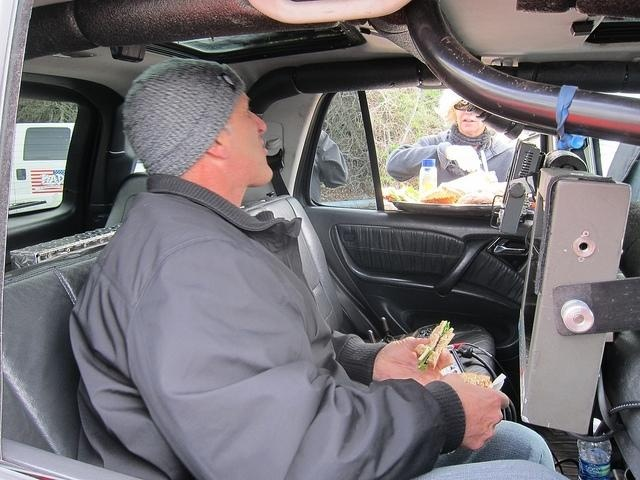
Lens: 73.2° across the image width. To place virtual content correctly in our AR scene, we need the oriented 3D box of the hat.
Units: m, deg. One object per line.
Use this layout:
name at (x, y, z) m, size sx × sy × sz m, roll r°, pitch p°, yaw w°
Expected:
hat at (-0.371, -0.337, 1.314) m, size 0.251 × 0.332 × 0.303 m, roll 28°, pitch -2°, yaw 3°
